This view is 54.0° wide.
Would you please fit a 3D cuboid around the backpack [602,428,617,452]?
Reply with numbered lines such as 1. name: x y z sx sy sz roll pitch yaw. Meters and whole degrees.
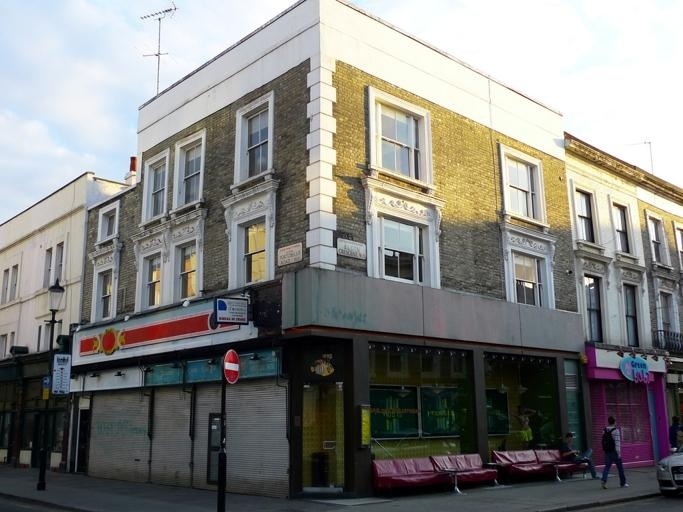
1. backpack: 8.350 5.804 21.006 0.150 0.635 0.450 -2 -5 4

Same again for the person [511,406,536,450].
1. person: 6.697 6.267 24.611 1.114 1.486 0.359 12 -24 -37
